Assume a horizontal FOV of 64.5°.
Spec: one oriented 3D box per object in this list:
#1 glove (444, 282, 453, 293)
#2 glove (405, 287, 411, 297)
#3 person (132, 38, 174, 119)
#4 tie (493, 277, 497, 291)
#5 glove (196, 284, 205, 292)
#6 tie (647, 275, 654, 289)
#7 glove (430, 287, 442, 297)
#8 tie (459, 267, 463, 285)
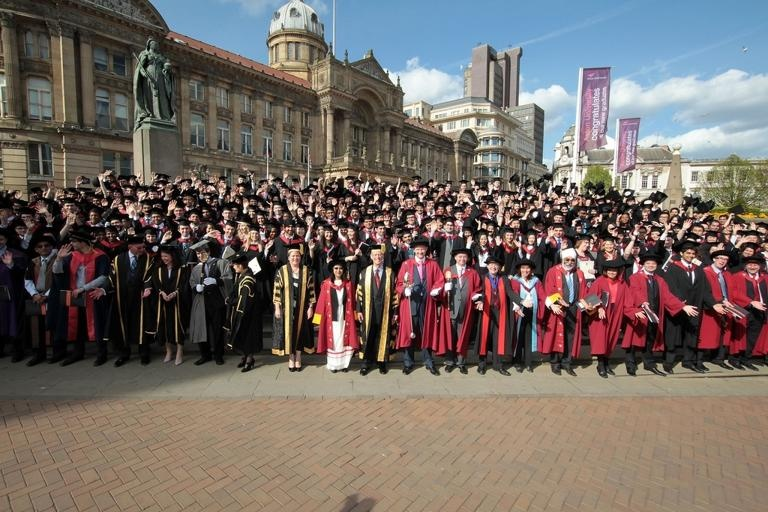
[{"bbox_3d":[1.763,0.837,16.802,0.236,0.214,0.233,-2,-7,30],"label":"glove"},{"bbox_3d":[0.651,0.978,16.770,0.173,0.230,0.093,3,-5,6],"label":"glove"},{"bbox_3d":[-9.381,-7.065,24.751,1.524,3.482,0.825,-3,3,-23],"label":"person"},{"bbox_3d":[3.097,0.727,17.090,0.155,0.312,0.075,-3,3,-15],"label":"tie"},{"bbox_3d":[-5.080,0.871,16.745,0.050,0.182,0.201,6,-4,40],"label":"glove"},{"bbox_3d":[7.511,0.688,17.163,0.228,0.319,0.061,-3,3,-27],"label":"tie"},{"bbox_3d":[1.430,0.985,16.822,0.330,0.243,0.200,-4,3,-35],"label":"glove"},{"bbox_3d":[2.126,0.510,16.934,0.156,0.389,0.122,-2,3,6],"label":"tie"}]
